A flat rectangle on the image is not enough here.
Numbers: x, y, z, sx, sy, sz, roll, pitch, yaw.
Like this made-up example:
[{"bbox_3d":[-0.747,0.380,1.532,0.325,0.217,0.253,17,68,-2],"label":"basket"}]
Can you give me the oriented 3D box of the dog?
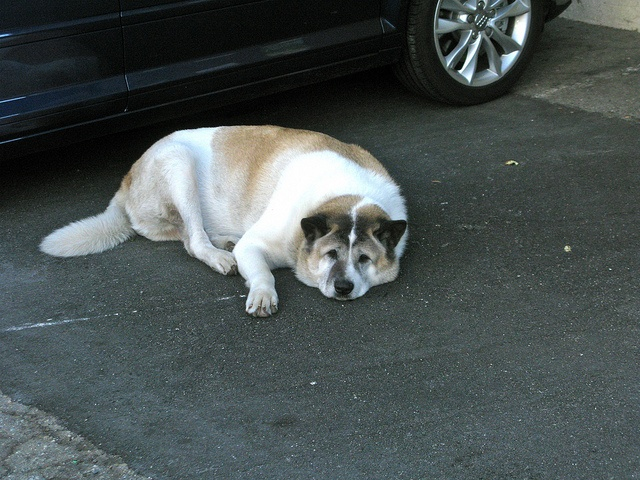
[{"bbox_3d":[-0.485,-0.194,4.925,2.300,0.711,1.564,18,50,13],"label":"dog"}]
